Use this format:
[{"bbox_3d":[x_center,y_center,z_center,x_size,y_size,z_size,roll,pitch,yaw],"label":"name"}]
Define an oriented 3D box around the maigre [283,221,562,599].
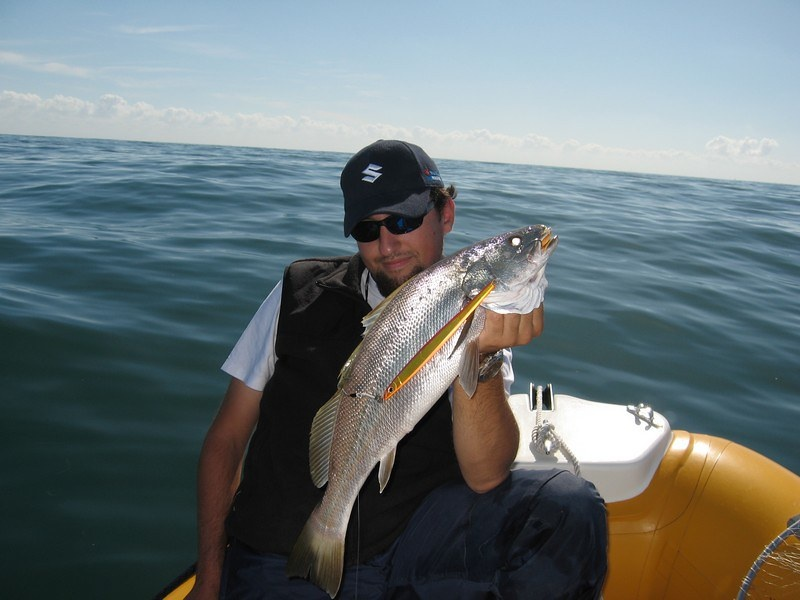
[{"bbox_3d":[0.064,0.613,3.045,1.331,2.071,0.435,-2,18,-20],"label":"maigre"}]
